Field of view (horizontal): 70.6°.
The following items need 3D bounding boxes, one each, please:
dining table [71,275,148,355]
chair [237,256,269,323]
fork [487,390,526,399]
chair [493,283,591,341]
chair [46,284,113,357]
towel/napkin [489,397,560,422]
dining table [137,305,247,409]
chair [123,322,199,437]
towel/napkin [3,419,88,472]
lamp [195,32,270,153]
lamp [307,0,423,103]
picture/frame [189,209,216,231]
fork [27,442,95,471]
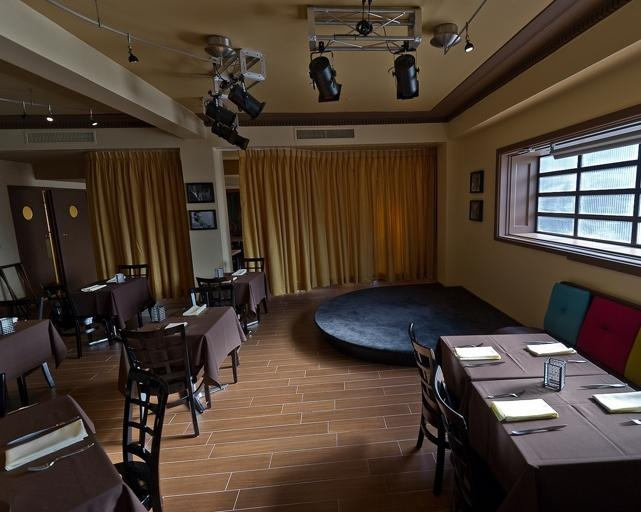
[{"bbox_3d":[-2.900,0.833,6.217,0.687,0.652,0.988,-10,-9,-5],"label":"dining table"},{"bbox_3d":[-1.067,0.455,6.585,0.713,0.766,0.752,-3,15,-8],"label":"chair"},{"bbox_3d":[1.300,0.962,3.151,0.177,0.034,0.031,-2,8,3],"label":"fork"},{"bbox_3d":[2.346,0.568,4.728,0.630,0.633,0.626,-1,7,5],"label":"chair"},{"bbox_3d":[-3.023,0.808,5.909,0.588,0.930,0.633,-11,1,36],"label":"chair"},{"bbox_3d":[1.355,1.015,2.979,0.216,0.035,0.183,-5,8,2],"label":"towel/napkin"},{"bbox_3d":[-1.227,0.929,4.578,0.812,0.667,0.862,0,3,11],"label":"dining table"},{"bbox_3d":[-1.441,1.138,4.214,0.564,1.023,0.625,-6,2,-9],"label":"chair"},{"bbox_3d":[-1.766,1.211,2.926,0.398,0.074,0.219,-17,24,-34],"label":"towel/napkin"},{"bbox_3d":[-1.042,-1.740,5.141,0.655,1.374,1.027,-9,15,-35],"label":"lamp"},{"bbox_3d":[0.420,-1.904,4.278,1.040,0.728,0.897,-1,9,11],"label":"lamp"},{"bbox_3d":[-1.914,-0.607,7.332,0.310,0.285,0.036,0,6,-1],"label":"picture/frame"},{"bbox_3d":[-1.627,1.266,2.840,0.037,0.043,0.268,14,22,38],"label":"fork"}]
